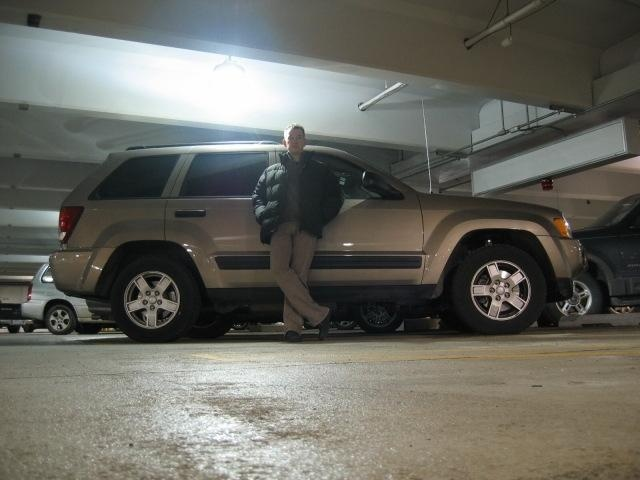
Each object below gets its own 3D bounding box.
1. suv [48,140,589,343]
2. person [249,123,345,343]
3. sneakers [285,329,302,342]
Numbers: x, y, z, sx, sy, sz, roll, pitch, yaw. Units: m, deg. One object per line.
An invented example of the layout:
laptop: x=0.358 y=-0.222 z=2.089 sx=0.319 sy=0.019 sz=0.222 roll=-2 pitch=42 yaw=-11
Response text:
suv: x=0.008 y=0.024 z=5.147 sx=4.940 sy=1.942 sz=2.119 roll=-3 pitch=-3 yaw=-6
person: x=-0.201 y=-0.084 z=4.193 sx=0.775 sy=1.922 sz=0.255 roll=2 pitch=-10 yaw=-17
sneakers: x=-0.235 y=0.827 z=4.051 sx=0.153 sy=0.103 sz=0.189 roll=0 pitch=-9 yaw=-4
